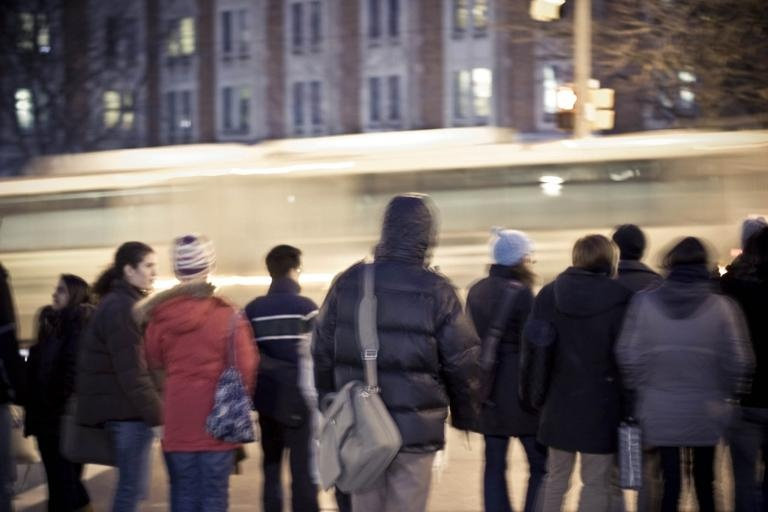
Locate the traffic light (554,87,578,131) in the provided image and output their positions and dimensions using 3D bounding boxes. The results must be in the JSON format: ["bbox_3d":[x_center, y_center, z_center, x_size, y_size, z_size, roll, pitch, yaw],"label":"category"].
[{"bbox_3d":[3.608,-2.994,33.613,0.542,0.792,0.210,-2,8,-45],"label":"traffic light"}]

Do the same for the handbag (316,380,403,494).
[{"bbox_3d":[-0.420,2.877,25.730,1.236,1.657,0.830,35,3,21],"label":"handbag"}]

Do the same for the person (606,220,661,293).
[{"bbox_3d":[4.091,0.063,27.432,1.309,0.968,0.617,5,22,15],"label":"person"}]

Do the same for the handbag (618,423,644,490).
[{"bbox_3d":[3.903,3.197,26.375,0.364,1.052,0.190,-3,4,5],"label":"handbag"}]

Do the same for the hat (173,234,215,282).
[{"bbox_3d":[-3.019,0.048,26.537,0.636,0.676,0.777,4,16,14],"label":"hat"}]

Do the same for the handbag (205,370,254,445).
[{"bbox_3d":[-2.364,2.431,26.332,0.840,1.071,0.431,-1,3,-8],"label":"handbag"}]

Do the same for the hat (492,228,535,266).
[{"bbox_3d":[2.072,-0.155,27.107,0.569,0.589,0.728,-5,9,38],"label":"hat"}]
